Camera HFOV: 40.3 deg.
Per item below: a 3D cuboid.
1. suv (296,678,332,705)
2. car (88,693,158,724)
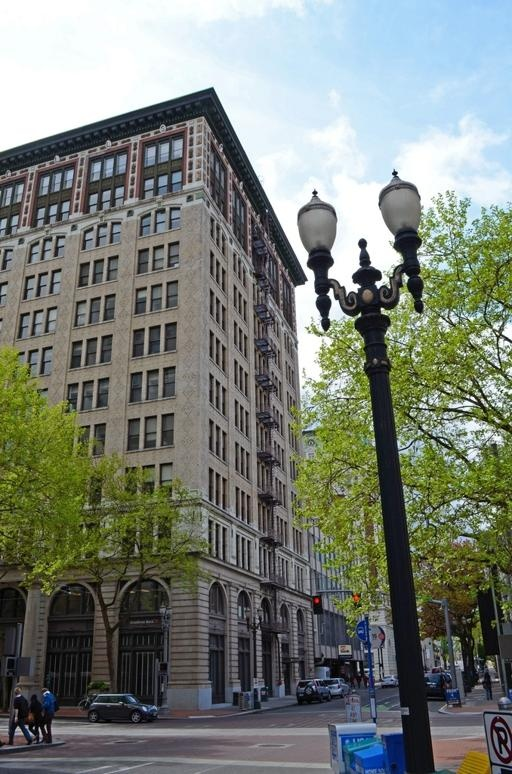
[{"bbox_3d":[3.686,20.223,46.604,1.445,1.270,2.963,-8,-25,19],"label":"suv"},{"bbox_3d":[-5.822,13.790,29.926,2.322,1.037,1.401,-7,-37,8],"label":"car"}]
